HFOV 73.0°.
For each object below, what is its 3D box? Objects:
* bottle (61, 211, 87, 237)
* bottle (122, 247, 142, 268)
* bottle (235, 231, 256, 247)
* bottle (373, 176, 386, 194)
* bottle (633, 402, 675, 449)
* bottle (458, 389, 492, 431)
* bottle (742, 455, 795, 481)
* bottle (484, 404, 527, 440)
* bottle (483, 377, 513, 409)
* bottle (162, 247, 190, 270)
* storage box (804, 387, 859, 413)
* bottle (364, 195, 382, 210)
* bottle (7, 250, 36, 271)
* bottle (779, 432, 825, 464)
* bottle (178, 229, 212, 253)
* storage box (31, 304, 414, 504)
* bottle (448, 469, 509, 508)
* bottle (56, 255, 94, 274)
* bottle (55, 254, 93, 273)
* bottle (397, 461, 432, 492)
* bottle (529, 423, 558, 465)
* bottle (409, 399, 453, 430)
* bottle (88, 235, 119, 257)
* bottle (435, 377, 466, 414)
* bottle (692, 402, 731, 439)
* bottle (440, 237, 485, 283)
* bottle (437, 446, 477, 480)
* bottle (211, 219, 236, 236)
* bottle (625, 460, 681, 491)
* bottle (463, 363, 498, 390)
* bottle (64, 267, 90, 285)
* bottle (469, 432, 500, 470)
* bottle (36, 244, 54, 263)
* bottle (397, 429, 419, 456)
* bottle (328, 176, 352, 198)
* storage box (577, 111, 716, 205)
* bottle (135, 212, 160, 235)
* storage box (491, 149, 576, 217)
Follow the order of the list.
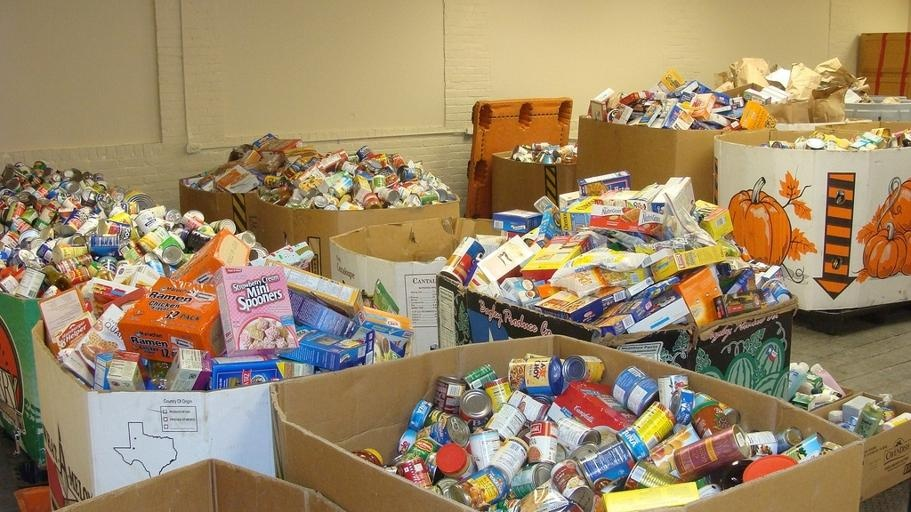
[{"bbox_3d":[-2.710,-0.233,4.358,0.139,0.146,0.328,-9,13,-23],"label":"bottle"},{"bbox_3d":[-2.034,0.017,3.832,0.055,0.051,0.095,-32,50,-21],"label":"bottle"},{"bbox_3d":[-1.377,-0.104,4.013,0.109,0.074,0.073,11,55,46],"label":"bottle"},{"bbox_3d":[-0.639,-0.573,5.089,0.082,0.082,0.129,-11,51,8],"label":"bottle"},{"bbox_3d":[0.757,0.648,2.321,0.078,0.081,0.129,28,57,35],"label":"bottle"},{"bbox_3d":[0.058,0.637,2.531,0.149,0.149,0.160,-4,-21,-3],"label":"bottle"},{"bbox_3d":[1.049,0.709,2.047,0.175,0.065,0.060,-3,11,3],"label":"bottle"},{"bbox_3d":[0.194,0.668,2.489,0.133,0.119,0.118,-51,8,-25],"label":"bottle"},{"bbox_3d":[0.179,0.573,2.555,0.112,0.122,0.111,-1,-7,-10],"label":"bottle"},{"bbox_3d":[-1.749,0.022,3.798,0.109,0.110,0.180,10,2,-19],"label":"bottle"},{"bbox_3d":[1.935,0.735,3.122,0.179,0.049,0.183,-5,9,46],"label":"storage box"},{"bbox_3d":[-0.666,-0.420,4.893,0.120,0.118,0.116,-5,41,-11],"label":"bottle"},{"bbox_3d":[-2.725,0.036,3.847,0.082,0.080,0.078,17,-40,-38],"label":"bottle"},{"bbox_3d":[1.224,0.672,2.150,0.127,0.083,0.096,3,13,29],"label":"bottle"},{"bbox_3d":[-1.754,-0.095,4.102,0.113,0.103,0.102,19,-23,5],"label":"bottle"},{"bbox_3d":[-1.105,0.600,2.423,0.754,0.465,0.738,-4,7,-40],"label":"storage box"},{"bbox_3d":[0.096,0.836,2.184,0.223,0.102,0.094,-10,13,-29],"label":"bottle"},{"bbox_3d":[-2.349,0.053,3.777,0.114,0.117,0.193,-14,2,37],"label":"bottle"},{"bbox_3d":[-2.356,0.050,3.781,0.114,0.116,0.194,-19,0,37],"label":"bottle"},{"bbox_3d":[-0.148,0.780,2.165,0.067,0.117,0.064,-40,3,3],"label":"bottle"},{"bbox_3d":[0.338,0.706,2.359,0.125,0.137,0.127,4,7,25],"label":"bottle"},{"bbox_3d":[-0.097,0.647,2.513,0.122,0.119,0.130,15,35,-36],"label":"bottle"},{"bbox_3d":[-2.251,-0.064,3.915,0.158,0.143,0.141,-4,-26,-25],"label":"bottle"},{"bbox_3d":[-0.025,0.563,2.521,0.136,0.145,0.136,1,2,-1],"label":"bottle"},{"bbox_3d":[0.953,0.623,2.352,0.126,0.100,0.124,-34,-8,-5],"label":"bottle"},{"bbox_3d":[0.040,0.032,3.419,0.134,0.131,0.216,-22,32,48],"label":"bottle"},{"bbox_3d":[0.005,0.754,2.252,0.116,0.116,0.111,-3,-18,18],"label":"bottle"},{"bbox_3d":[-1.613,-0.190,4.245,0.127,0.127,0.199,13,10,-31],"label":"bottle"},{"bbox_3d":[0.677,0.768,2.127,0.160,0.099,0.104,-4,27,-23],"label":"bottle"},{"bbox_3d":[0.096,0.507,2.620,0.148,0.097,0.098,-13,27,-31],"label":"bottle"},{"bbox_3d":[-2.301,0.126,3.721,0.081,0.084,0.158,2,13,27],"label":"bottle"},{"bbox_3d":[0.108,0.740,2.341,0.120,0.130,0.120,-1,-9,-3],"label":"bottle"},{"bbox_3d":[-2.611,-0.007,3.893,0.072,0.065,0.067,40,63,16],"label":"bottle"},{"bbox_3d":[-0.197,0.745,2.447,0.065,0.106,0.026,25,0,34],"label":"bottle"},{"bbox_3d":[-0.959,-0.551,5.071,0.110,0.094,0.168,23,31,2],"label":"bottle"},{"bbox_3d":[1.729,-0.891,5.657,1.307,0.799,0.401,6,15,40],"label":"storage box"},{"bbox_3d":[-2.156,-0.213,4.270,0.116,0.103,0.105,48,27,15],"label":"bottle"},{"bbox_3d":[0.892,-0.649,6.708,0.635,0.843,1.144,-7,12,-31],"label":"storage box"}]
